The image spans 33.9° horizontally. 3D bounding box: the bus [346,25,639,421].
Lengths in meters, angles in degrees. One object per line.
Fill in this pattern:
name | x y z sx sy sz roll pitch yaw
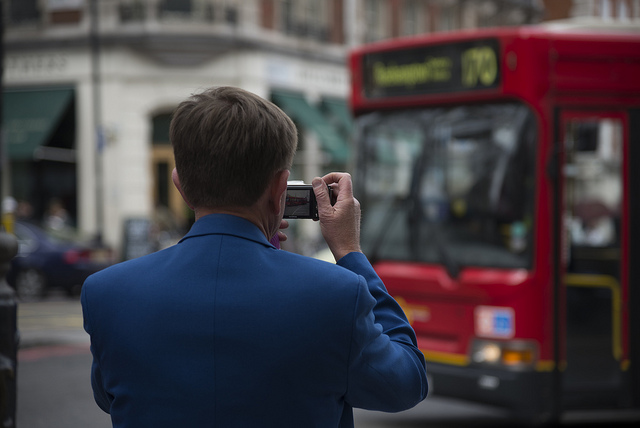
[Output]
bus | 2.233 -0.034 11.142 3.735 3.058 2.495 0 0 -32
